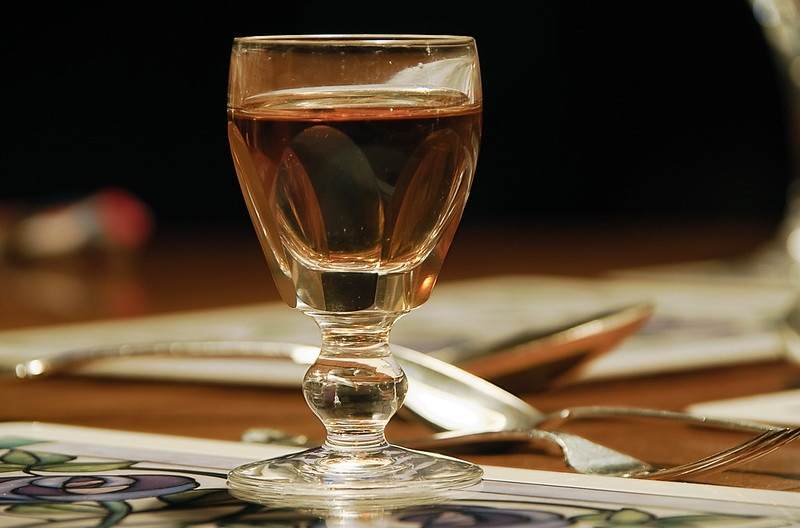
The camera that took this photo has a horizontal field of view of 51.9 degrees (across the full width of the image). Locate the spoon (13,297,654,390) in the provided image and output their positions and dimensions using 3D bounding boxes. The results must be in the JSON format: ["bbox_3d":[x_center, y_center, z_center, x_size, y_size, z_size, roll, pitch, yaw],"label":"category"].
[{"bbox_3d":[-0.037,0.066,0.661,0.665,0.062,0.093,2,0,4],"label":"spoon"}]

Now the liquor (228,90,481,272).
[{"bbox_3d":[-0.021,-0.045,0.422,0.120,0.084,0.062,-2,36,-3],"label":"liquor"}]
